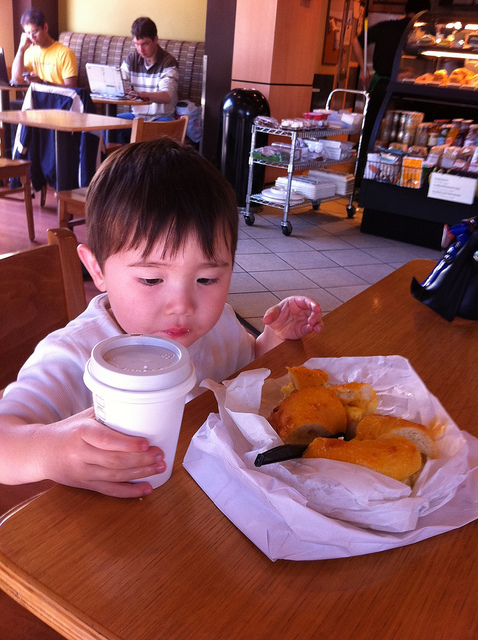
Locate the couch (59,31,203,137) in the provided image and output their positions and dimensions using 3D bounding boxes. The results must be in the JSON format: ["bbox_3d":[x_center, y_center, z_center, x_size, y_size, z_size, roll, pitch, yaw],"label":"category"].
[{"bbox_3d":[-1.427,-3.426,7.445,2.558,1.434,0.900,-17,51,-33],"label":"couch"}]

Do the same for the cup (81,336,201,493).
[{"bbox_3d":[-0.082,0.062,0.467,0.120,0.120,0.115,5,30,-3],"label":"cup"}]

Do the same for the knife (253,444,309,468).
[{"bbox_3d":[0.037,0.123,0.441,0.013,0.015,0.083,-7,-12,39],"label":"knife"}]

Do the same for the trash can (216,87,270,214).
[{"bbox_3d":[0.061,-1.779,5.105,0.614,1.181,0.564,1,28,-9],"label":"trash can"}]

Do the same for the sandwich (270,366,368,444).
[{"bbox_3d":[0.076,0.093,0.570,0.080,0.051,0.141,-22,9,16],"label":"sandwich"}]

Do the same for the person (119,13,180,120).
[{"bbox_3d":[-1.192,-2.916,5.868,0.876,1.244,0.776,1,34,-4],"label":"person"}]

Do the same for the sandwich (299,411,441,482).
[{"bbox_3d":[0.131,0.109,0.476,0.081,0.028,0.081,1,13,36],"label":"sandwich"}]
